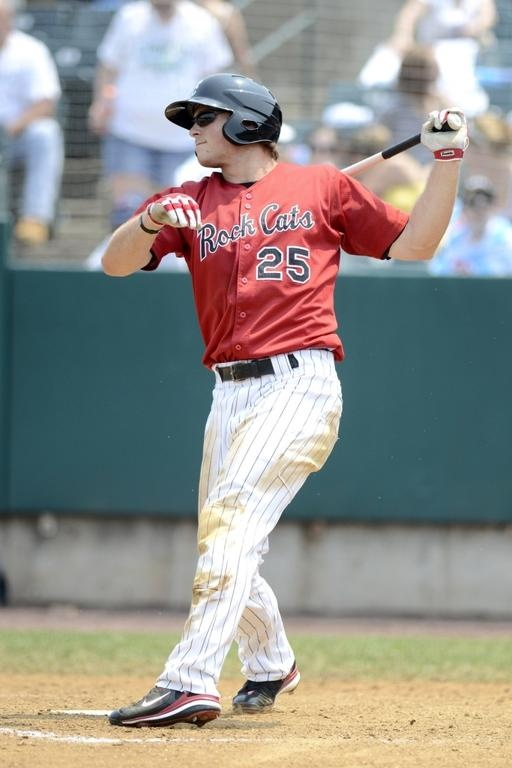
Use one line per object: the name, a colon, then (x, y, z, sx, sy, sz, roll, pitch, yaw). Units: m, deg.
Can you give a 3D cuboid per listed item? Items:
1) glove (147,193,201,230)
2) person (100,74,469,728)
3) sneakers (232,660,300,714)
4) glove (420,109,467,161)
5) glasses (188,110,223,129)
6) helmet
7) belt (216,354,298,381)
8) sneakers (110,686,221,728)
glove: (-0.214, -0.453, 3.341, 0.102, 0.085, 0.171, -2, 9, -24)
person: (-0.007, 0.044, 3.567, 0.973, 1.808, 0.620, -5, 12, -36)
sneakers: (0.032, 0.885, 3.793, 0.100, 0.113, 0.301, -3, 3, 31)
glove: (0.504, -0.672, 3.484, 0.123, 0.144, 0.068, -2, -13, 25)
glasses: (-0.145, -0.744, 3.584, 0.059, 0.018, 0.056, -25, -6, -40)
helmet: (-0.078, -0.778, 3.648, 0.332, 0.184, 0.223, 3, 10, -7)
belt: (-0.029, -0.041, 3.472, 0.050, 0.078, 0.179, -7, 12, -43)
sneakers: (-0.217, 0.833, 3.323, 0.294, 0.119, 0.100, -2, -24, 5)
